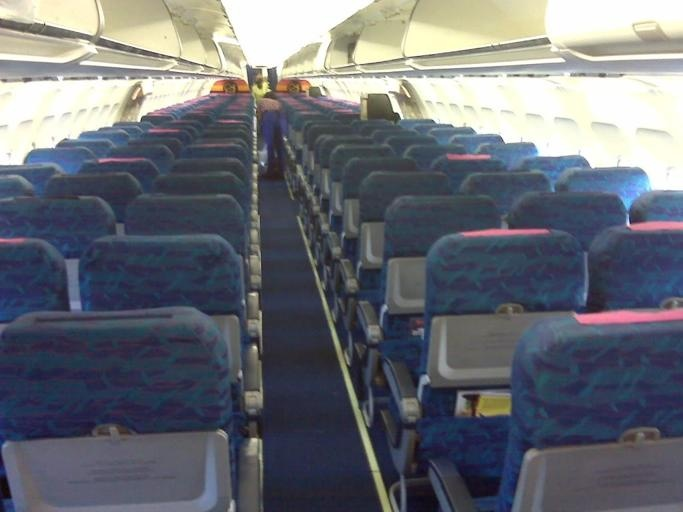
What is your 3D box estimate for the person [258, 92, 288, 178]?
[{"bbox_3d":[-1.223,-2.511,12.704,0.424,1.609,0.840,1,-33,-13],"label":"person"}]
